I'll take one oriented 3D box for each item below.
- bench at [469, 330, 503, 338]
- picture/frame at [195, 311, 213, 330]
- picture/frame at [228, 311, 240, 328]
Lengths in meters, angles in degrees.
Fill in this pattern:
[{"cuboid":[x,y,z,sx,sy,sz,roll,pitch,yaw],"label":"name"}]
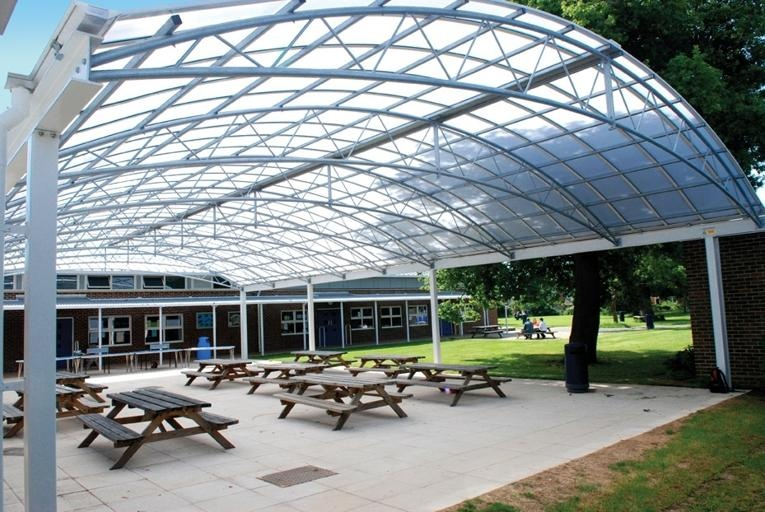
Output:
[{"cuboid":[9.157,6.951,45.415,1.819,0.271,1.826,-5,-6,45],"label":"bench"},{"cuboid":[-12.324,4.484,35.417,1.634,1.007,0.443,0,0,-43],"label":"picture/frame"},{"cuboid":[-10.718,4.574,36.965,0.869,1.146,0.187,3,-14,-44],"label":"picture/frame"}]
